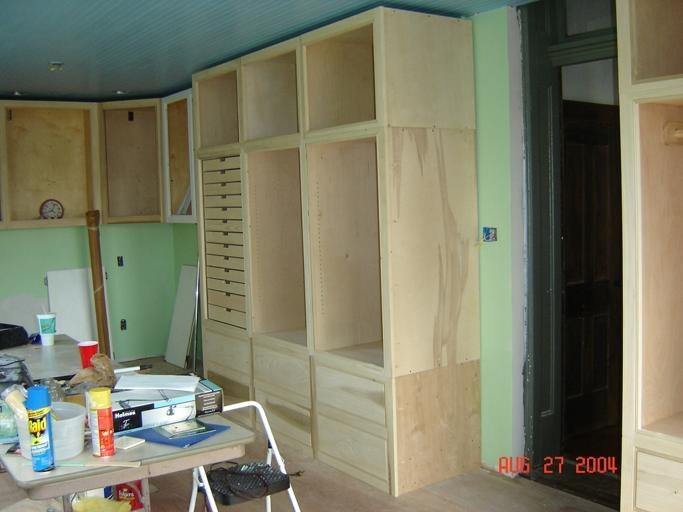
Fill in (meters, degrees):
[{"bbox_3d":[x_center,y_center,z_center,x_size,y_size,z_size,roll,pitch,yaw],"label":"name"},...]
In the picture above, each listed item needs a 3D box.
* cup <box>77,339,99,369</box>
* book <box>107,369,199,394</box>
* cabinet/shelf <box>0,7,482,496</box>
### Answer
[{"bbox_3d":[-1.650,0.656,3.671,0.096,0.175,0.271,-5,5,-27],"label":"cup"},{"bbox_3d":[-0.944,0.643,2.917,0.478,0.057,0.263,-2,4,6],"label":"book"},{"bbox_3d":[-0.118,-0.054,4.500,2.251,3.239,0.792,1,6,41],"label":"cabinet/shelf"}]
